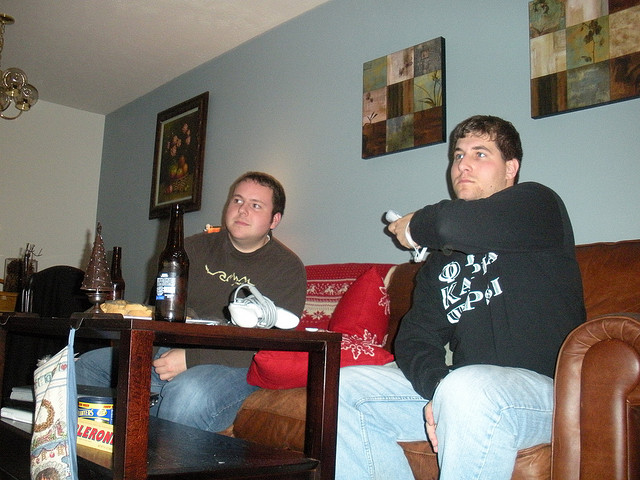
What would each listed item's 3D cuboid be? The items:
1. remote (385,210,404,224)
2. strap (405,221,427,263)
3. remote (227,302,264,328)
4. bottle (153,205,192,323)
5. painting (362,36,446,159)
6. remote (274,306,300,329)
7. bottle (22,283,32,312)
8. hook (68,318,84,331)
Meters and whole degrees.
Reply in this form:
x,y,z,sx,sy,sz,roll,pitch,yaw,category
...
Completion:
x,y,z,sx,sy,sz,roll,pitch,yaw,category
0.303,-0.090,2.004,0.045,0.040,0.112,34,6,15,remote
0.352,0.014,1.764,0.042,0.111,0.079,-13,20,-32,strap
-0.204,0.204,1.374,0.081,0.042,0.063,8,1,43,remote
-0.410,0.059,1.367,0.090,0.332,0.276,1,-4,-19,bottle
0.468,-0.797,2.787,0.536,0.593,0.073,-4,-5,43,painting
-0.101,0.233,1.472,0.072,0.063,0.073,0,-4,-4,remote
-1.530,0.300,2.564,0.044,0.140,0.098,2,-5,-32,bottle
-0.647,0.213,1.301,0.036,0.046,0.016,1,7,4,hook
